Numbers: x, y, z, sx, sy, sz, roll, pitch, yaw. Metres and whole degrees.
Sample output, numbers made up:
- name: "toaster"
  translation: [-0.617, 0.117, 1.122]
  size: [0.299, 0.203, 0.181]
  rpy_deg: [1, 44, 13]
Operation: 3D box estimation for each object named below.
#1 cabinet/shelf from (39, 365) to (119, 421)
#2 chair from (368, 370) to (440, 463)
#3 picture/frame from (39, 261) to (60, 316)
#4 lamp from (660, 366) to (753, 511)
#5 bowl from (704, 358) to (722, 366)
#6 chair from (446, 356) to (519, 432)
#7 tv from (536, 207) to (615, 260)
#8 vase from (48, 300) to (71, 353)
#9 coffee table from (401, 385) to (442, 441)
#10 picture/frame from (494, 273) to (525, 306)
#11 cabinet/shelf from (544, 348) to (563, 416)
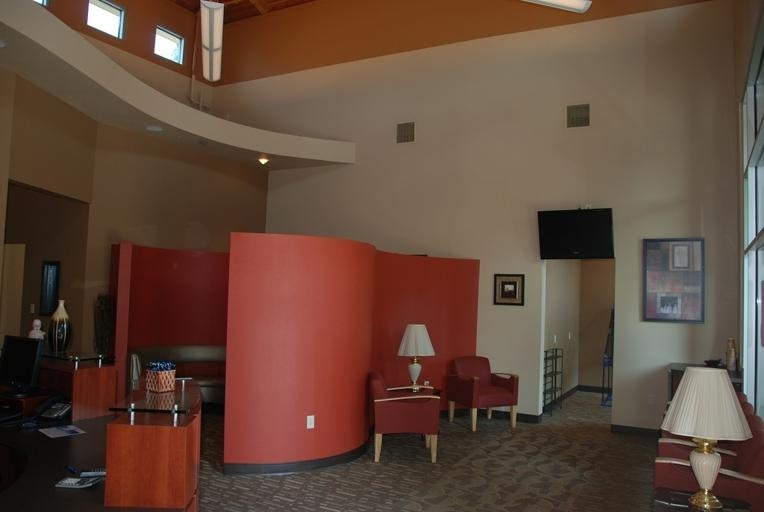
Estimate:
- name: "cabinet/shelf"
  translation: [-3.984, 1.655, 7.609]
  size: [1.075, 0.769, 0.629]
  rpy_deg: [5, 4, 39]
- name: "chair"
  translation: [0.330, 2.551, 9.561]
  size: [1.223, 1.373, 1.197]
  rpy_deg: [0, -2, -1]
- name: "picture/frame"
  translation: [-5.900, 0.570, 10.340]
  size: [0.321, 0.965, 0.062]
  rpy_deg: [2, -2, -4]
- name: "lamp"
  translation: [3.273, 1.832, 5.872]
  size: [0.797, 1.454, 0.499]
  rpy_deg: [3, 5, 18]
- name: "bowl"
  translation: [5.429, 1.742, 9.502]
  size: [0.224, 0.101, 0.180]
  rpy_deg: [-6, -6, 25]
- name: "chair"
  translation: [1.884, 2.542, 11.026]
  size: [0.974, 1.282, 1.252]
  rpy_deg: [3, -8, -13]
- name: "tv"
  translation: [3.621, -0.398, 10.828]
  size: [1.321, 0.996, 0.149]
  rpy_deg: [-1, -22, 18]
- name: "vase"
  translation: [-4.551, 1.001, 8.188]
  size: [0.269, 0.736, 0.867]
  rpy_deg: [-2, 6, -31]
- name: "coffee table"
  translation: [0.500, 2.481, 9.344]
  size: [0.842, 0.803, 0.857]
  rpy_deg: [2, 2, -8]
- name: "picture/frame"
  translation: [2.532, 0.648, 11.378]
  size: [0.586, 0.630, 0.047]
  rpy_deg: [1, 1, 19]
- name: "cabinet/shelf"
  translation: [3.528, 2.587, 11.993]
  size: [0.382, 1.320, 1.290]
  rpy_deg: [-1, -2, 17]
